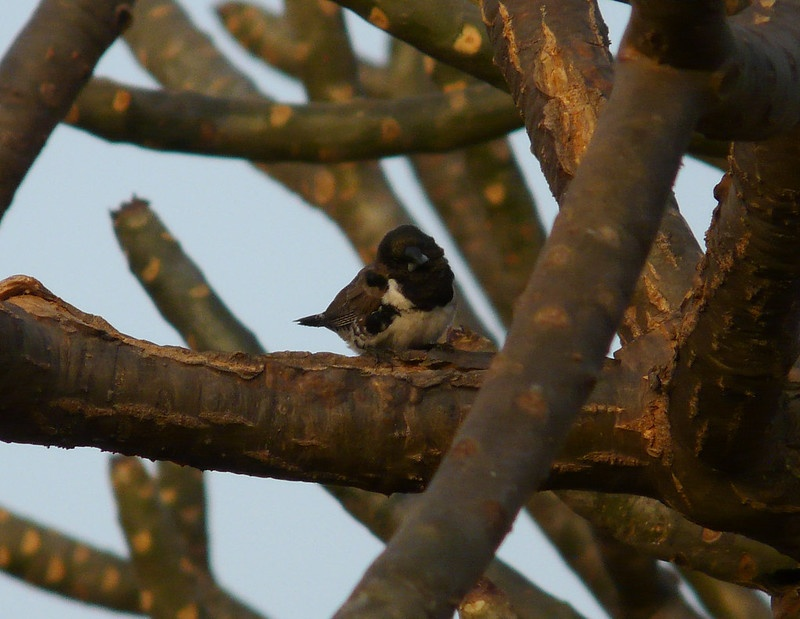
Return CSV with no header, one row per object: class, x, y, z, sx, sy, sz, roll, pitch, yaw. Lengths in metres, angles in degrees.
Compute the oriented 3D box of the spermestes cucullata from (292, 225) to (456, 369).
spermestes cucullata,-0.085,-0.097,9.057,0.430,0.605,0.753,-9,14,-43
